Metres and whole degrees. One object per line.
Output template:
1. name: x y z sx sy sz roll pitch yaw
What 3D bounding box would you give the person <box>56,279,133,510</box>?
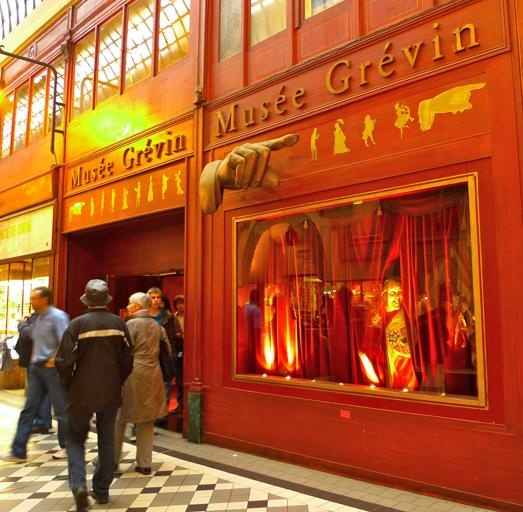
1. person: -1.315 1.028 3.601 0.408 1.699 0.455 -2 -8 12
